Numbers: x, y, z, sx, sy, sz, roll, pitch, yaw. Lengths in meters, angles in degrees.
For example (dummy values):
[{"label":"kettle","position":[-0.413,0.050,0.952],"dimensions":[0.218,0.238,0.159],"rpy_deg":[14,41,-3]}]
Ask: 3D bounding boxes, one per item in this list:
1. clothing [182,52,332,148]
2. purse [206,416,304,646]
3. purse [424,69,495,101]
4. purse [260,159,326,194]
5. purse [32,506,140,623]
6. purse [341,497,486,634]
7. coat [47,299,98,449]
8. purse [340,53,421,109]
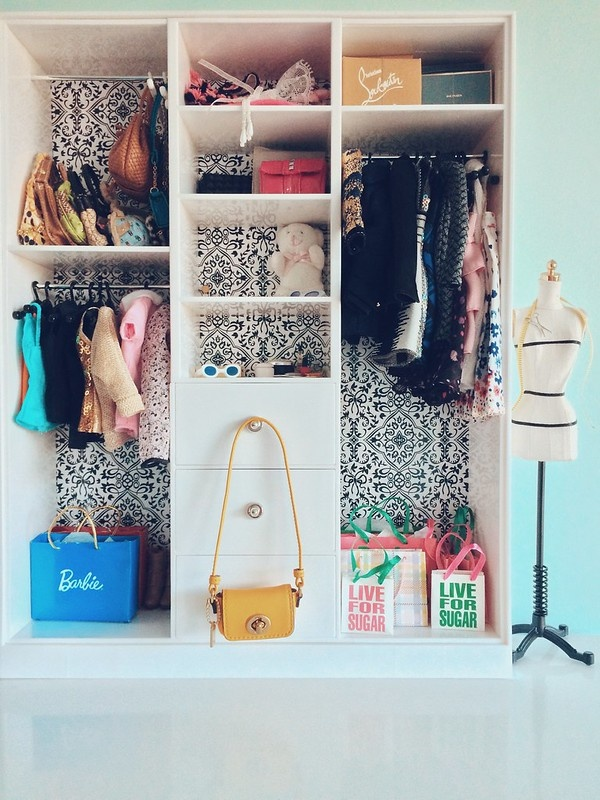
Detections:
[{"label":"clothing","position":[-0.153,-1.036,3.101],"dimensions":[0.475,0.321,0.133],"rpy_deg":[-7,-22,-6]},{"label":"purse","position":[-0.136,0.458,2.905],"dimensions":[0.315,0.659,0.496],"rpy_deg":[2,34,-4]},{"label":"purse","position":[0.546,-1.062,3.056],"dimensions":[0.228,0.112,0.099],"rpy_deg":[2,9,9]},{"label":"purse","position":[-0.026,-0.773,3.073],"dimensions":[0.167,0.153,0.062],"rpy_deg":[2,-3,4]},{"label":"purse","position":[-0.729,0.627,3.257],"dimensions":[0.472,0.467,0.300],"rpy_deg":[-1,-4,0]},{"label":"purse","position":[0.343,0.609,3.177],"dimensions":[0.591,0.512,0.382],"rpy_deg":[0,-8,0]},{"label":"coat","position":[-0.833,-0.105,3.165],"dimensions":[0.123,0.370,0.314],"rpy_deg":[-3,5,-20]},{"label":"purse","position":[0.280,-1.078,3.059],"dimensions":[0.323,0.160,0.149],"rpy_deg":[0,7,2]}]
